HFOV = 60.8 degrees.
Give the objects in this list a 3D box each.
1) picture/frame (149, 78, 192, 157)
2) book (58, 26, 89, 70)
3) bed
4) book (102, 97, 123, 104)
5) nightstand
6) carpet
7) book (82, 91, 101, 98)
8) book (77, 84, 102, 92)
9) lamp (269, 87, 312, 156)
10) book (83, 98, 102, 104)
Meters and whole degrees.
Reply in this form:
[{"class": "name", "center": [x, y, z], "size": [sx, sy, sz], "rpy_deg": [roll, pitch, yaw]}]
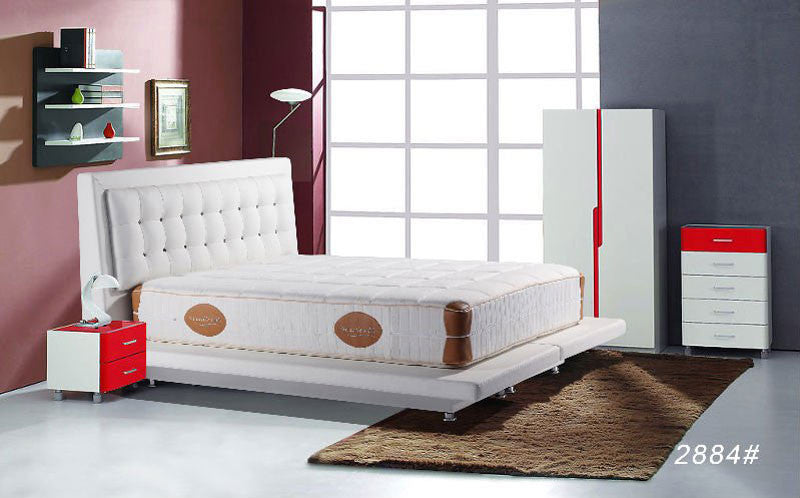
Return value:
[{"class": "picture/frame", "center": [-2.170, -1.225, 6.371], "size": [0.133, 0.710, 0.465], "rpy_deg": [2, 10, 20]}, {"class": "book", "center": [-2.511, -1.548, 5.247], "size": [0.231, 0.326, 0.134], "rpy_deg": [5, 12, 33]}, {"class": "bed", "center": [-0.460, 0.347, 5.204], "size": [3.327, 1.362, 2.288], "rpy_deg": [1, 4, 26]}, {"class": "book", "center": [-2.397, -1.232, 5.653], "size": [0.116, 0.022, 0.097], "rpy_deg": [0, 2, -9]}, {"class": "nightstand", "center": [-2.243, 0.834, 5.080], "size": [0.700, 0.416, 0.626], "rpy_deg": [-1, 0, -9]}, {"class": "carpet", "center": [1.110, 1.080, 4.616], "size": [1.643, 0.063, 3.146], "rpy_deg": [6, 11, 41]}, {"class": "book", "center": [-2.477, -1.234, 5.448], "size": [0.110, 0.023, 0.095], "rpy_deg": [1, 2, -16]}, {"class": "book", "center": [-2.490, -1.284, 5.438], "size": [0.129, 0.029, 0.119], "rpy_deg": [-3, 6, -44]}, {"class": "lamp", "center": [-1.096, -1.272, 6.775], "size": [0.417, 0.693, 0.892], "rpy_deg": [-3, 9, -8]}, {"class": "book", "center": [-2.472, -1.183, 5.443], "size": [0.095, 0.017, 0.079], "rpy_deg": [0, 2, -1]}]
